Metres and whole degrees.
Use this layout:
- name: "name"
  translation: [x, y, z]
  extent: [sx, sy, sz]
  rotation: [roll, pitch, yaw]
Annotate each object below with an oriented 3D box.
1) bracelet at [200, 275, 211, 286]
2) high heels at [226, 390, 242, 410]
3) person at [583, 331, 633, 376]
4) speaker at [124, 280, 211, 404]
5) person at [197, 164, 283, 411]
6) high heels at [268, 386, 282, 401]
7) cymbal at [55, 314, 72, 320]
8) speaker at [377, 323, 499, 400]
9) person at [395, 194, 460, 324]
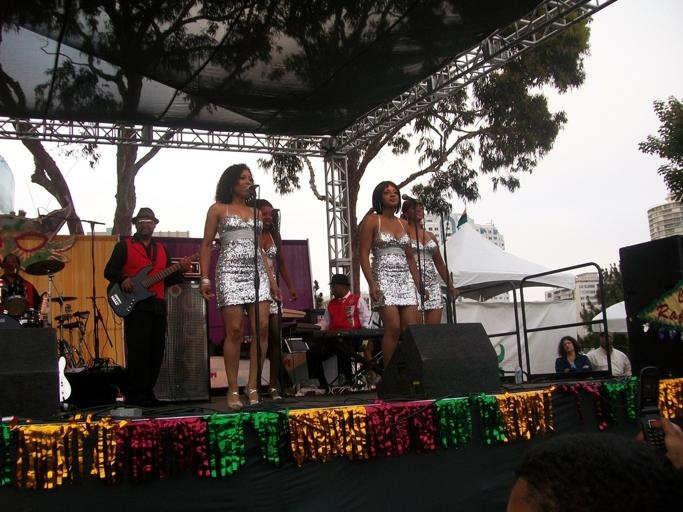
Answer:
- name: "bracelet"
  translation: [-1.148, 0.207, 4.775]
  extent: [0.066, 0.080, 0.065]
  rotation: [-13, -14, 27]
- name: "high heels"
  translation: [-0.873, 1.180, 4.566]
  extent: [0.102, 0.147, 0.336]
  rotation: [2, -15, -13]
- name: "person"
  translation: [4.081, 1.549, 8.613]
  extent: [0.629, 0.844, 0.404]
  rotation: [0, -29, 12]
- name: "speaker"
  translation: [-2.107, 1.067, 6.636]
  extent: [0.879, 2.099, 1.014]
  rotation: [2, -9, -15]
- name: "person"
  translation: [-0.849, 0.215, 4.787]
  extent: [0.668, 1.936, 0.996]
  rotation: [-1, 10, -16]
- name: "high heels"
  translation: [-0.609, 1.281, 5.299]
  extent: [0.092, 0.091, 0.286]
  rotation: [2, -14, -13]
- name: "cymbal"
  translation: [-4.520, 0.987, 9.187]
  extent: [0.175, 0.108, 0.183]
  rotation: [-8, -14, 32]
- name: "speaker"
  translation: [0.793, 0.833, 4.462]
  extent: [0.754, 0.615, 0.616]
  rotation: [3, -8, -26]
- name: "person"
  translation: [0.827, 0.261, 5.593]
  extent: [0.559, 1.812, 0.498]
  rotation: [4, -17, -11]
